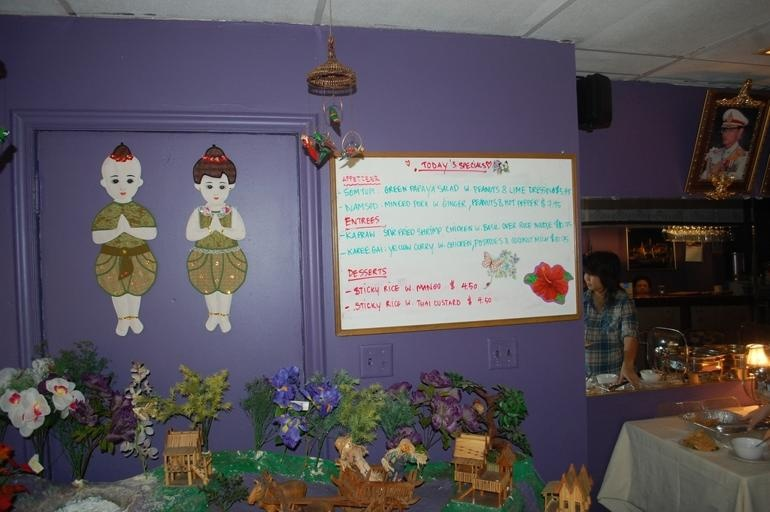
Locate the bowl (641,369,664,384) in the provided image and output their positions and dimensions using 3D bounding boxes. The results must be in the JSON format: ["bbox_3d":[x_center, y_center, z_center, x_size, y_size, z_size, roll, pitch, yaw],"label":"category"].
[{"bbox_3d":[1.928,0.855,4.332,0.176,0.103,0.030,-2,-1,-21],"label":"bowl"}]

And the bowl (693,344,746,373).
[{"bbox_3d":[2.447,0.730,4.412,0.352,0.079,0.215,-1,1,-14],"label":"bowl"}]

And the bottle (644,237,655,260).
[{"bbox_3d":[1.901,-0.056,4.288,0.132,0.173,0.018,-2,-1,-17],"label":"bottle"}]

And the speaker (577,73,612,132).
[{"bbox_3d":[1.385,-1.019,3.972,0.206,0.372,0.102,-3,-1,17],"label":"speaker"}]

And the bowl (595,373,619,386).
[{"bbox_3d":[1.579,0.864,4.253,0.130,0.045,0.085,4,-6,-8],"label":"bowl"}]

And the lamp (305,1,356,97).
[{"bbox_3d":[-0.296,-1.084,3.440,0.299,0.387,0.269,-2,-1,-7],"label":"lamp"}]
